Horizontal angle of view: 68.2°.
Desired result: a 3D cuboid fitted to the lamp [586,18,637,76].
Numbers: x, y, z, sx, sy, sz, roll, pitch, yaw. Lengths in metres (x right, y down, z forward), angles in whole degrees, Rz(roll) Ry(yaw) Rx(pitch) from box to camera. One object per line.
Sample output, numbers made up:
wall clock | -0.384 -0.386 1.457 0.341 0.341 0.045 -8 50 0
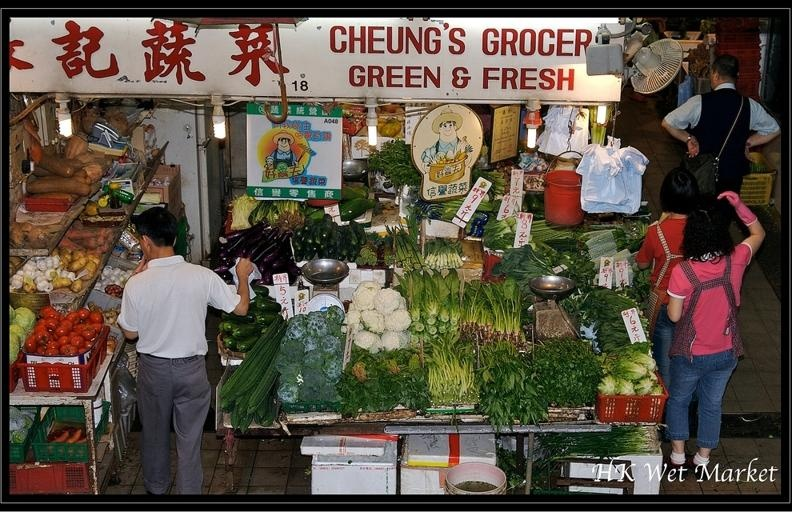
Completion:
lamp | 2.090 -2.016 5.648 0.528 0.507 0.394 -1 -2 1

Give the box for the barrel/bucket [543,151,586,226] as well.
barrel/bucket | 2.010 -0.811 6.994 0.441 0.928 0.483 -1 -2 0

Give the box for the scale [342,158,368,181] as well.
scale | -0.537 -1.153 7.744 0.318 0.286 0.169 -1 -2 -5

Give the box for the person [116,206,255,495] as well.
person | -1.893 0.879 5.133 1.023 2.560 0.619 -1 -3 -5

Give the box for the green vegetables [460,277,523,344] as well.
green vegetables | 0.906 0.549 5.503 0.601 0.538 0.217 -1 -27 -1

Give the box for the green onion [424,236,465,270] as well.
green onion | 0.520 -0.030 6.509 0.399 0.367 0.164 -1 -34 -3

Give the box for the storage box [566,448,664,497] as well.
storage box | 2.052 2.012 5.457 0.844 0.414 0.557 0 -22 6

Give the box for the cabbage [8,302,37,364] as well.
cabbage | -3.525 0.728 5.446 0.227 0.523 0.300 7 -7 -21

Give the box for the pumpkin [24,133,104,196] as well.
pumpkin | -3.788 -1.065 6.732 0.614 0.855 0.865 0 -2 -8

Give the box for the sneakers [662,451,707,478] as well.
sneakers | 2.783 2.028 5.677 0.200 0.194 0.483 -10 3 -1

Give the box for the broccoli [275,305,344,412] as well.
broccoli | -0.743 0.908 5.099 0.618 0.789 0.271 -1 -19 -1

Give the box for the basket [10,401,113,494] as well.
basket | -3.185 1.761 5.499 0.706 0.296 0.915 -1 18 -8

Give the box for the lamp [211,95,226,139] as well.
lamp | -1.864 -1.442 6.088 0.128 0.358 0.639 0 -2 -16

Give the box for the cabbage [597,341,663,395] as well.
cabbage | 2.054 1.045 5.137 0.458 0.434 0.132 -3 -25 7

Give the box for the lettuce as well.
lettuce | 0.336 0.418 5.520 0.618 0.565 0.238 -2 -28 -11

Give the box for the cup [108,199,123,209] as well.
cup | -3.325 -0.616 6.871 0.121 0.123 0.114 0 11 0

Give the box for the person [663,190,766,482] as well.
person | 2.860 0.753 5.363 0.723 2.725 0.893 -3 -4 43

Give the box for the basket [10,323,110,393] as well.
basket | -3.051 0.941 5.298 0.707 0.553 0.509 0 -2 -19

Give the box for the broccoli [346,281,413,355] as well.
broccoli | -0.152 0.567 5.363 0.529 0.604 0.322 3 -32 -4

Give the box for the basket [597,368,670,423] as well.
basket | 2.060 1.251 5.072 0.379 0.163 0.371 0 24 2
